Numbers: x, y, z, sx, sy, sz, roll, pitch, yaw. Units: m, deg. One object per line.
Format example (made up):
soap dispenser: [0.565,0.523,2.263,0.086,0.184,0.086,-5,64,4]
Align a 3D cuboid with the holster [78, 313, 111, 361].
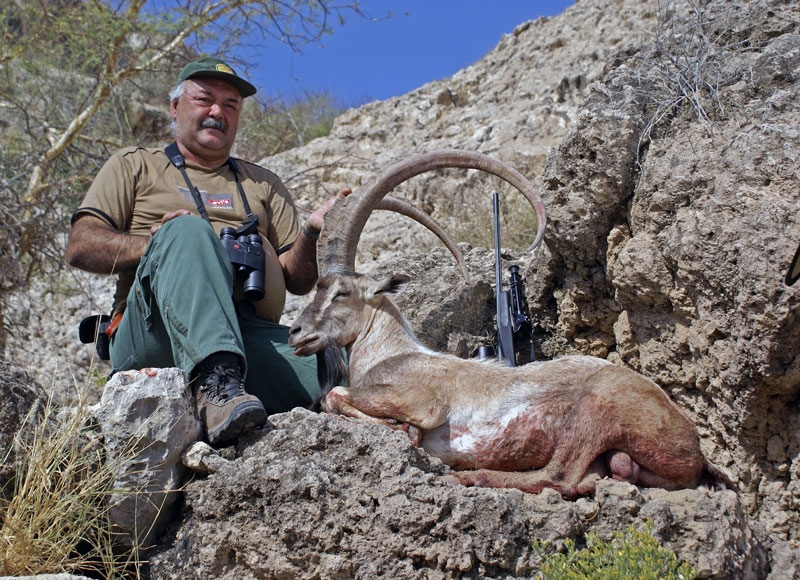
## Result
holster: [-2.783,0.402,10.647,0.305,0.524,0.137,-9,2,0]

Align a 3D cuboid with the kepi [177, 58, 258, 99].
kepi: [-1.779,-2.178,11.574,0.482,0.355,0.669,1,-3,-24]

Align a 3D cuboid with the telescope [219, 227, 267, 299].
telescope: [-1.382,-0.247,10.438,0.428,0.620,0.207,18,-33,-40]

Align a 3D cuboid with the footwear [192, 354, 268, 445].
footwear: [-1.405,0.885,9.620,0.632,0.755,0.327,-7,-8,34]

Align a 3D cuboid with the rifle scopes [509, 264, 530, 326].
rifle scopes: [1.176,0.052,11.279,0.162,0.583,0.203,-2,-26,7]
